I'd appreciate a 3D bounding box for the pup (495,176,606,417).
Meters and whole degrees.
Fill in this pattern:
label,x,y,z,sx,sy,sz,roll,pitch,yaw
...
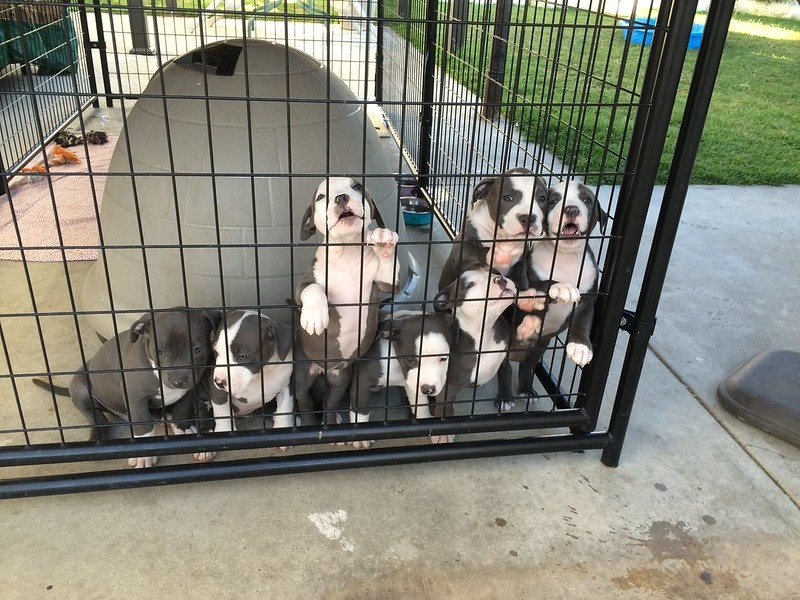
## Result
label,x,y,z,sx,sy,sz,roll,pitch,yaw
pup,0.621,0.044,2.425,0.276,1.050,0.670,6,66,7

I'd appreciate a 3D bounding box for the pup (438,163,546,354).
label,x,y,z,sx,sy,sz,roll,pitch,yaw
pup,0.373,-0.206,2.360,0.345,0.647,0.753,10,-7,-9

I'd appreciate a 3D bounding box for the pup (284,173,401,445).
label,x,y,z,sx,sy,sz,roll,pitch,yaw
pup,-0.243,0.045,2.211,0.362,1.050,0.786,-5,26,-21

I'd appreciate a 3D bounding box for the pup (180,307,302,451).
label,x,y,z,sx,sy,sz,roll,pitch,yaw
pup,-0.595,0.266,2.263,0.404,0.560,0.560,0,21,-15

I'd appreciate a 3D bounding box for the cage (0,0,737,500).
label,x,y,z,sx,sy,sz,roll,pitch,yaw
cage,0.385,-0.221,2.541,1.800,1.166,1.872,-2,34,4

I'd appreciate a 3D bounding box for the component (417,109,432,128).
label,x,y,z,sx,sy,sz,roll,pitch,yaw
component,0.174,-1.280,4.039,0.093,0.113,0.108,2,9,2

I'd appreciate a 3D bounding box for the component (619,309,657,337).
label,x,y,z,sx,sy,sz,roll,pitch,yaw
component,0.880,0.076,2.120,0.122,0.067,0.092,7,13,25
